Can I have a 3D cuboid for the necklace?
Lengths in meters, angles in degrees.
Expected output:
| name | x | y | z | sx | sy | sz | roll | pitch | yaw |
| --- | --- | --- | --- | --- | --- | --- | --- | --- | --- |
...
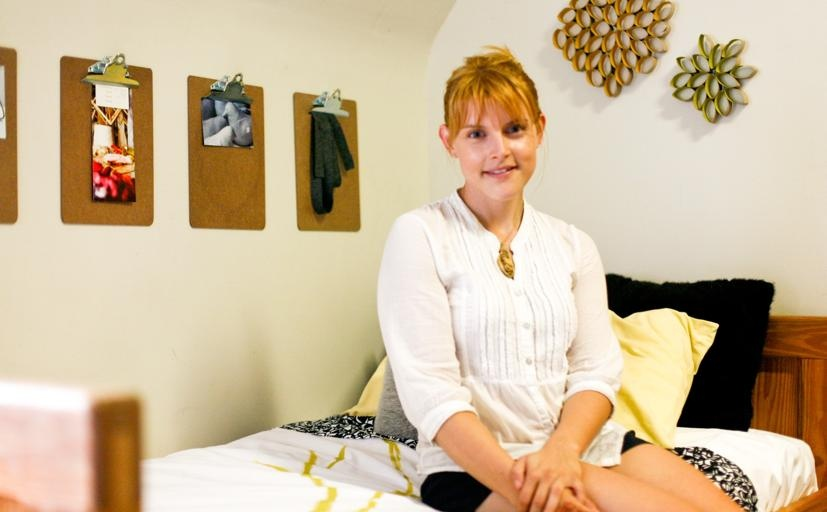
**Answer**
| name | x | y | z | sx | sy | sz | roll | pitch | yaw |
| --- | --- | --- | --- | --- | --- | --- | --- | --- | --- |
| necklace | 0.312 | -0.097 | 2.646 | 0.187 | 0.367 | 0.066 | -11 | -2 | -4 |
